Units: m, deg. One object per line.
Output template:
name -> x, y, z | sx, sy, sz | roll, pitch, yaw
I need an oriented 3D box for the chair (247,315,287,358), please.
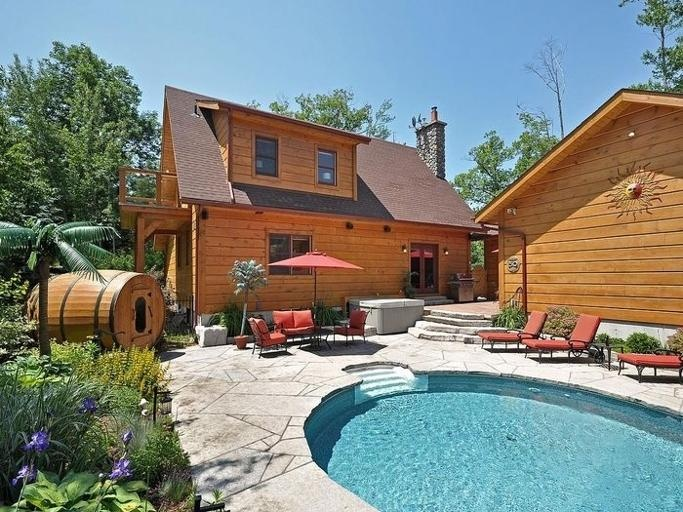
chair -> -2.239, 2.470, 14.860 | 1.174, 1.011, 0.886 | 3, -5, -38

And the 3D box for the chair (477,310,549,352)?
chair -> 5.401, 2.417, 15.501 | 1.869, 1.127, 1.280 | -1, -6, 6

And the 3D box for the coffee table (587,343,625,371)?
coffee table -> 7.502, 2.910, 14.122 | 0.732, 0.523, 1.063 | 1, -5, -18

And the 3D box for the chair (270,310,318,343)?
chair -> -1.516, 2.042, 15.771 | 1.578, 1.001, 0.832 | 2, -5, -27

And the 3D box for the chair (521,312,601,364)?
chair -> 6.500, 2.450, 14.760 | 1.873, 1.181, 1.324 | 0, -5, 0

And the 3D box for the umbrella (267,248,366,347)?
umbrella -> -1.114, 1.375, 16.820 | 3.253, 2.840, 3.095 | 0, -3, -9

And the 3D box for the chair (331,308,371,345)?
chair -> 0.279, 2.369, 16.330 | 0.860, 1.028, 1.038 | 1, -4, -25
